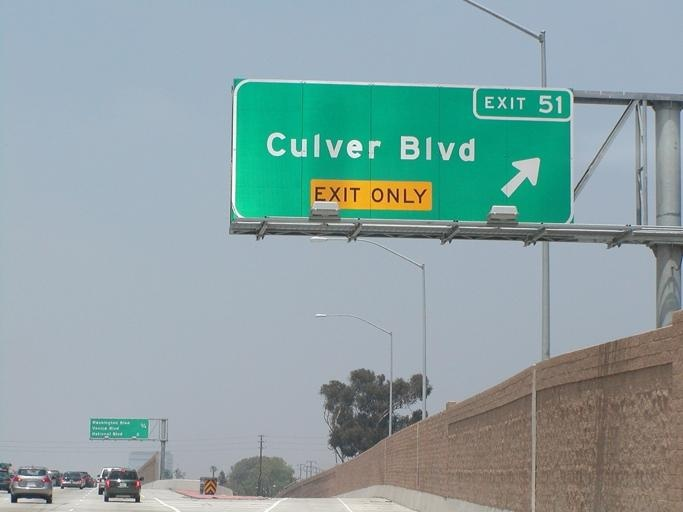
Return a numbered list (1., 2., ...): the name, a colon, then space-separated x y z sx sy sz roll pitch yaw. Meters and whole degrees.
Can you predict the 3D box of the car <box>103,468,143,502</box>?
1. car: -8.863 9.303 72.880 1.465 1.434 1.151 4 -13 -12
